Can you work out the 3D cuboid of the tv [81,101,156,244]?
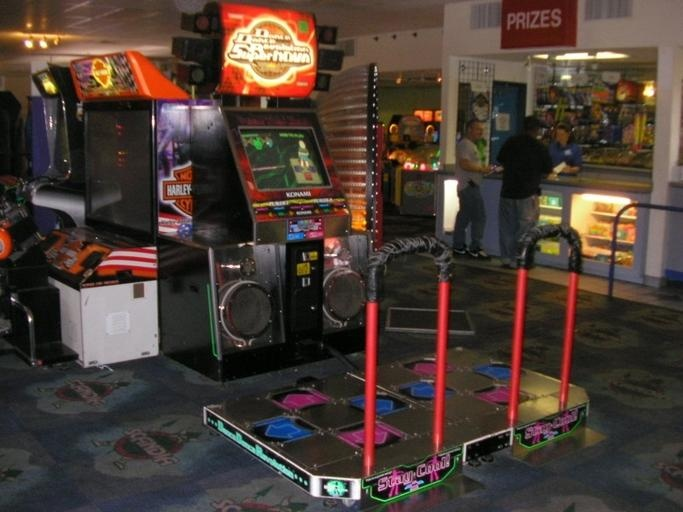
[{"bbox_3d":[-1.835,-0.707,4.922,0.257,1.087,1.297,-9,17,-35],"label":"tv"}]

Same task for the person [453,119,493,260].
[{"bbox_3d":[1.808,-0.926,8.308,0.531,1.854,0.568,4,15,9],"label":"person"}]

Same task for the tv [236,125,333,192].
[{"bbox_3d":[-0.428,-0.677,4.276,0.599,0.393,0.045,-4,-16,-39],"label":"tv"}]

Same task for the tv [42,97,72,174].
[{"bbox_3d":[-3.500,-1.466,7.379,0.209,0.932,0.760,-7,17,-32],"label":"tv"}]

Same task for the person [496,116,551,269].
[{"bbox_3d":[2.277,-0.806,7.708,0.669,1.911,0.385,8,16,23],"label":"person"}]

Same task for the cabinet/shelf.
[{"bbox_3d":[2.960,-0.279,6.976,0.446,0.976,1.306,-7,15,-38],"label":"cabinet/shelf"}]
